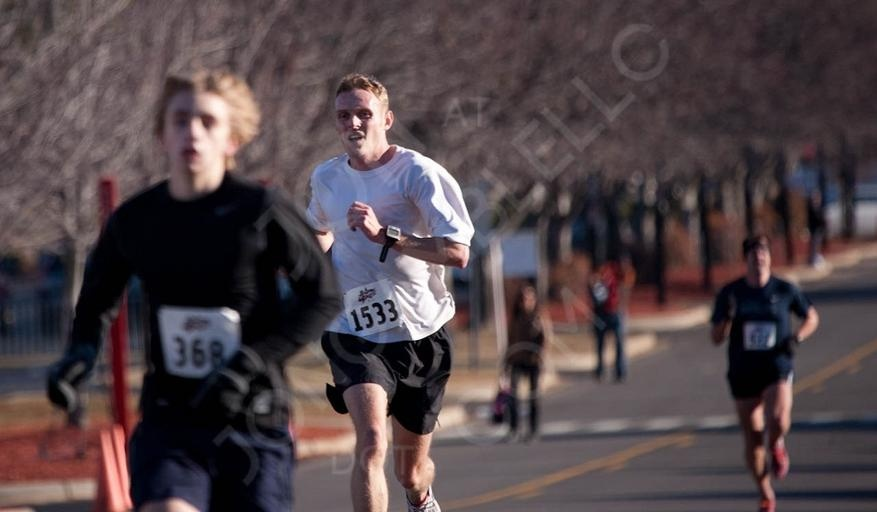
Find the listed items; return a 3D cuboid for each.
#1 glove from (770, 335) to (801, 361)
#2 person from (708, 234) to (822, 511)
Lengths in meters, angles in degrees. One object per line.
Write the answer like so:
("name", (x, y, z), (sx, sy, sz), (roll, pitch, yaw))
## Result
("glove", (4.099, 1.071, 15.741), (0.388, 0.260, 0.146), (-10, 13, -42))
("person", (3.814, 1.360, 15.900), (0.961, 3.182, 0.971), (7, 12, 42))
